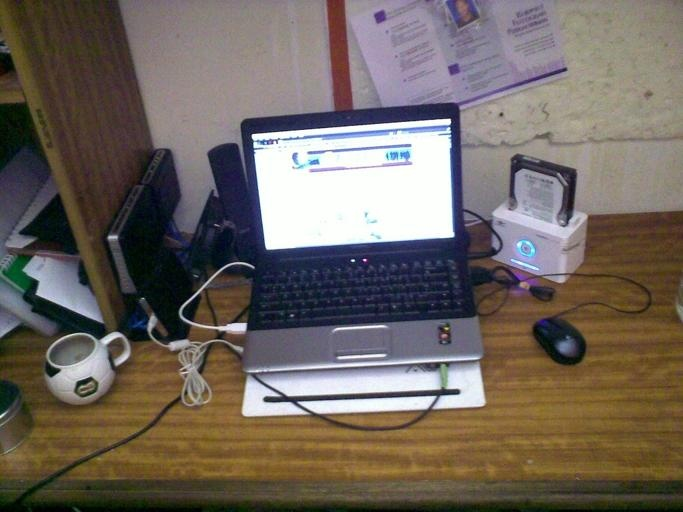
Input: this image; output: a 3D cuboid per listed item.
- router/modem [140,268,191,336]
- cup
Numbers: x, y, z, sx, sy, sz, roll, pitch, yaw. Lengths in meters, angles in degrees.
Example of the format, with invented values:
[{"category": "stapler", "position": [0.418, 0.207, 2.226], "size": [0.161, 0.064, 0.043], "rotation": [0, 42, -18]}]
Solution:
[{"category": "router/modem", "position": [-0.334, 0.086, 1.129], "size": [0.026, 0.108, 0.116], "rotation": [-9, 13, 11]}, {"category": "cup", "position": [-0.452, 0.198, 1.080], "size": [0.108, 0.092, 0.141], "rotation": [29, 33, 29]}]
